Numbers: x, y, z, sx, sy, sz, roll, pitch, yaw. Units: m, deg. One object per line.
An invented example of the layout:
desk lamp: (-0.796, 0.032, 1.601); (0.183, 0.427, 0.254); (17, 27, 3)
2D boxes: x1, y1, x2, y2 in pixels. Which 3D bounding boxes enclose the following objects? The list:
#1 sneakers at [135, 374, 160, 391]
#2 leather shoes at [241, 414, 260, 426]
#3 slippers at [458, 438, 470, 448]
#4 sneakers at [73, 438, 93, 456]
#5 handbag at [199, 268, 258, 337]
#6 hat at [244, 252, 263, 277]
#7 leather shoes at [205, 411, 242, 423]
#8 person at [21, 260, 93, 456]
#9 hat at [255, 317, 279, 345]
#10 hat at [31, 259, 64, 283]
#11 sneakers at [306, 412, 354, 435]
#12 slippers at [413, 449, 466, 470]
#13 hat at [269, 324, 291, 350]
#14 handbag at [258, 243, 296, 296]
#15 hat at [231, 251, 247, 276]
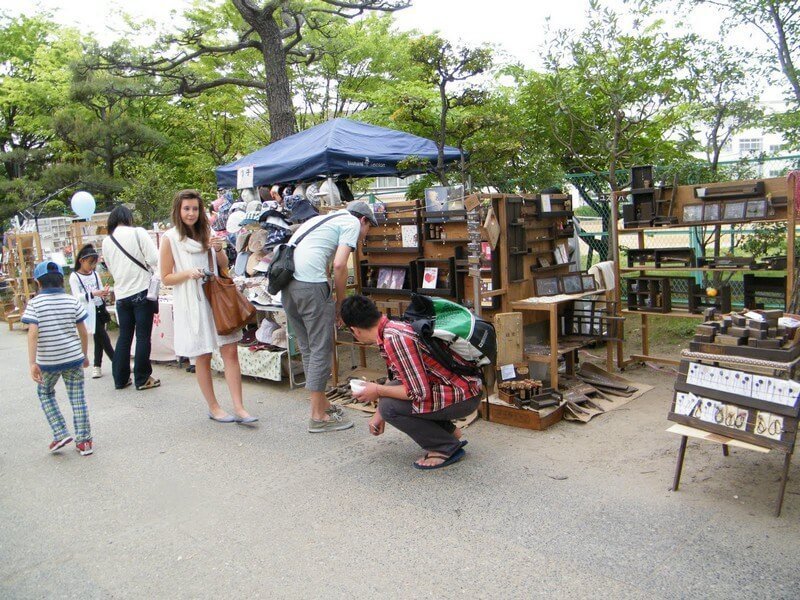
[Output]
sneakers: (-2.961, 0.981, 6.712); (0.304, 0.135, 0.113); (-8, 16, -36)
leather shoes: (-1.383, 1.125, 5.295); (0.208, 0.074, 0.075); (-6, -7, 30)
slippers: (0.507, 1.142, 4.515); (0.075, 0.025, 0.094); (-18, -1, 4)
sneakers: (-2.705, 1.266, 4.856); (0.088, 0.082, 0.201); (-3, 5, -32)
handbag: (-1.600, 0.042, 5.234); (0.339, 0.575, 0.339); (8, 20, 42)
hat: (-1.697, -0.402, 6.568); (0.214, 0.255, 0.074); (12, -11, 42)
leather shoes: (-1.685, 1.123, 5.415); (0.274, 0.090, 0.126); (-4, -6, 15)
person: (-2.919, 0.503, 4.854); (0.536, 1.660, 0.567); (-12, 16, -23)
hat: (-1.581, 0.374, 6.672); (0.249, 0.285, 0.114); (11, -2, 17)
hat: (-3.019, -0.249, 4.852); (0.201, 0.150, 0.270); (-8, 13, -35)
sneakers: (-0.630, 1.128, 5.167); (0.441, 0.153, 0.147); (-1, 2, -11)
slippers: (0.313, 1.228, 4.348); (0.312, 0.066, 0.158); (0, 1, -25)
hat: (-1.388, 0.428, 6.516); (0.303, 0.268, 0.105); (4, 1, 1)
handbag: (-1.104, -0.296, 5.084); (0.296, 0.478, 0.391); (9, 17, -31)
hat: (-1.911, -0.420, 6.770); (0.229, 0.276, 0.073); (17, -5, 33)
